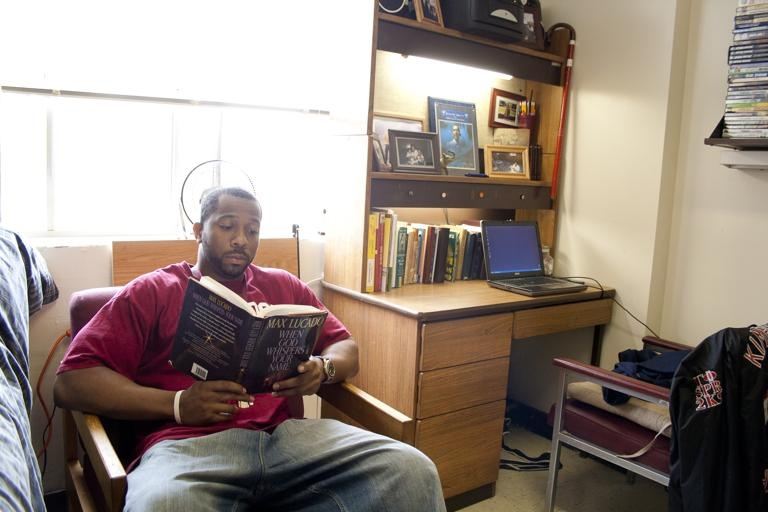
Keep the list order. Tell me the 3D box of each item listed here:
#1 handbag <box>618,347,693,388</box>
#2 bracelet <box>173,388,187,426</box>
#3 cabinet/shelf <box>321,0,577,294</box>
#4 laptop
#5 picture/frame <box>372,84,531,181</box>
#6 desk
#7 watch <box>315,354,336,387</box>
[{"bbox_3d":[1.236,0.508,2.539,0.235,0.081,0.248,6,13,43],"label":"handbag"},{"bbox_3d":[-0.712,0.525,1.868,0.021,0.089,0.090,4,7,-9],"label":"bracelet"},{"bbox_3d":[0.347,-0.600,3.006,1.622,1.759,0.512,-7,16,-41],"label":"cabinet/shelf"},{"bbox_3d":[0.831,0.008,3.002,0.493,0.334,0.445,-2,11,-24],"label":"laptop"},{"bbox_3d":[0.363,-0.703,3.128,0.715,0.408,0.034,-2,-2,-35],"label":"picture/frame"},{"bbox_3d":[0.555,0.736,3.235,1.664,1.092,0.854,-1,7,-35],"label":"desk"},{"bbox_3d":[-0.217,0.450,2.104,0.109,0.113,0.073,-13,-6,34],"label":"watch"}]
